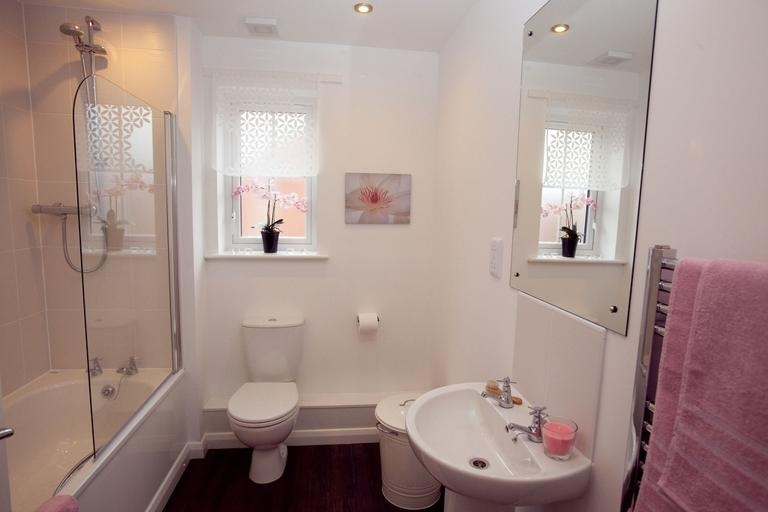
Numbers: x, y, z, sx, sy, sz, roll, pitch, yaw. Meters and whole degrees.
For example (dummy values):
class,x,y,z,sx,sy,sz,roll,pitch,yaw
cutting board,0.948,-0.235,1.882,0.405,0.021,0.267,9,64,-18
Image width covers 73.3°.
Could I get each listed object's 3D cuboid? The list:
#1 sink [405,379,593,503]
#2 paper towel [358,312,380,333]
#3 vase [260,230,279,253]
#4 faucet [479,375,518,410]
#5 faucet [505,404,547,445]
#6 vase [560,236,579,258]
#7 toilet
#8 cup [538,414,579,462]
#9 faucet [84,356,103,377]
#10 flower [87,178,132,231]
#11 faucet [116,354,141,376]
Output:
class,x,y,z,sx,sy,sz,roll,pitch,yaw
sink,0.487,0.852,2.292,0.545,0.446,0.650,-4,19,-9
paper towel,-0.106,0.469,3.605,0.148,0.122,0.135,-2,-19,-4
vase,-0.774,-0.101,3.577,0.142,0.143,0.142,1,4,7
faucet,0.562,0.657,2.494,0.115,0.084,0.162,0,1,-3
faucet,0.635,0.730,2.263,0.204,0.145,0.110,-4,7,-1
vase,0.804,-0.042,2.233,0.073,0.074,0.074,11,19,17
toilet,-0.735,0.886,3.306,0.465,0.957,0.613,-2,8,-9
cup,0.727,0.758,2.173,0.149,0.131,0.162,0,3,0
faucet,-1.389,0.528,2.476,0.086,0.086,0.078,0,0,9
flower,-1.380,-0.264,2.700,0.194,0.355,0.268,0,7,-11
faucet,-1.364,0.591,2.746,0.049,0.078,0.079,0,-5,27
